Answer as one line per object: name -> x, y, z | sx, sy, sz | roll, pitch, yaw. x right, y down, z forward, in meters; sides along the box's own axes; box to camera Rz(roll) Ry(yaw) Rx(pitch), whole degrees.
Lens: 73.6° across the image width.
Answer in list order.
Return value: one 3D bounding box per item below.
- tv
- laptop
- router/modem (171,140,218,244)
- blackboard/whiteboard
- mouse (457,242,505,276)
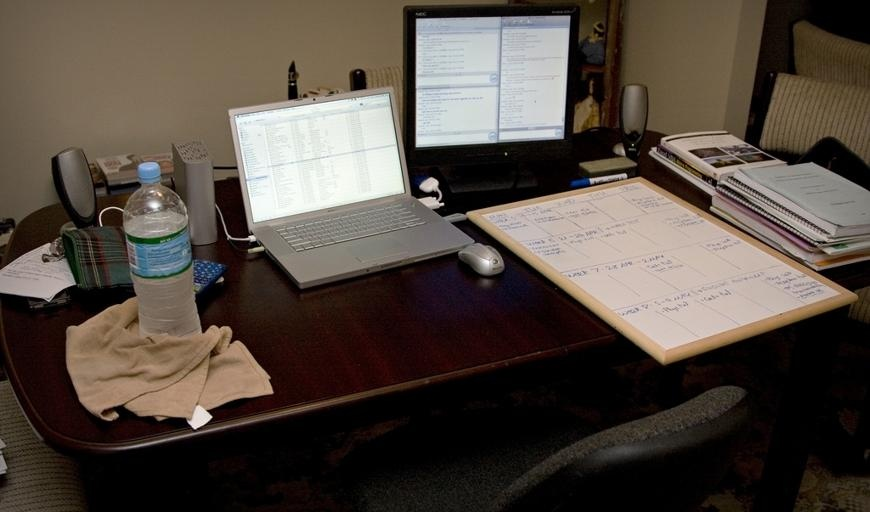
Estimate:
tv -> 0.183, -0.554, 2.015 | 0.680, 0.596, 0.226 | -7, 22, -14
laptop -> -0.243, -0.215, 1.728 | 0.587, 0.308, 0.526 | -19, 44, -34
router/modem -> -0.707, -0.179, 1.712 | 0.118, 0.331, 0.253 | -10, 35, -26
blackboard/whiteboard -> 0.733, 0.014, 1.702 | 0.701, 0.020, 0.573 | -15, 19, 5
mouse -> 0.140, -0.005, 1.698 | 0.104, 0.055, 0.153 | -12, 30, -20
